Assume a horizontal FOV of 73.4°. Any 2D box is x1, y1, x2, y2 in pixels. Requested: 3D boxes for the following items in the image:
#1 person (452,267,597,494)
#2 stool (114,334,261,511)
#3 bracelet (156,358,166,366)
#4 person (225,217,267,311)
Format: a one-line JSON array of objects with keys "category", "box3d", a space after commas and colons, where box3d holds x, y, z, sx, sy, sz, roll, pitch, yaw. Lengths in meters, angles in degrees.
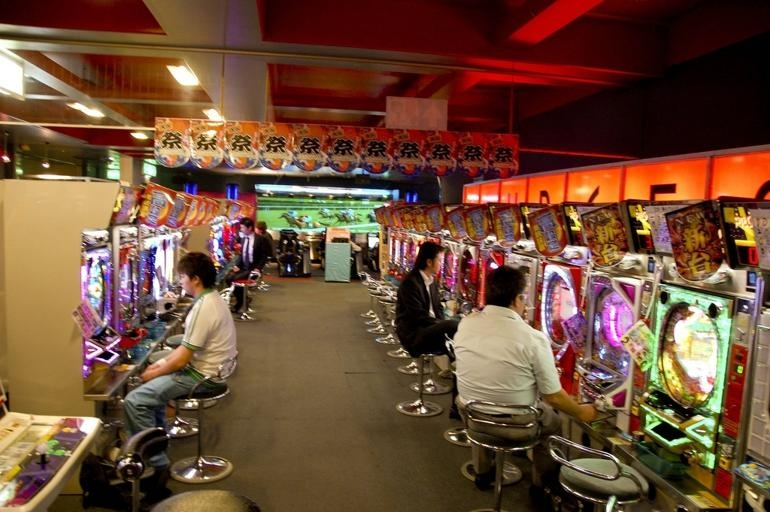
[{"category": "person", "box3d": [1.084, 0.707, 4.114, 1.021, 1.198, 0.502, 3, 9, 4]}, {"category": "stool", "box3d": [-1.814, 1.379, 4.599, 0.866, 1.290, 0.736, 2, 9, -7]}, {"category": "bracelet", "box3d": [-2.063, 0.975, 4.781, 0.073, 0.018, 0.066, 0, 5, -3]}, {"category": "person", "box3d": [-2.993, 0.234, 11.223, 0.964, 1.865, 0.914, 1, -1, -40]}]
